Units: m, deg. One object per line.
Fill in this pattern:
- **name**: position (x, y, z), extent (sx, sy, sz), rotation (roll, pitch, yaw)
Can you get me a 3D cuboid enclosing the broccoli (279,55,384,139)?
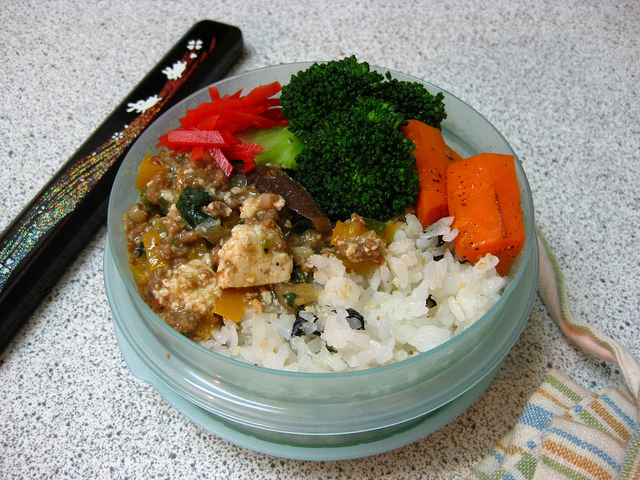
- **broccoli**: position (0.095, -0.767, 2.747), extent (0.457, 0.250, 0.410), rotation (-2, 33, 24)
